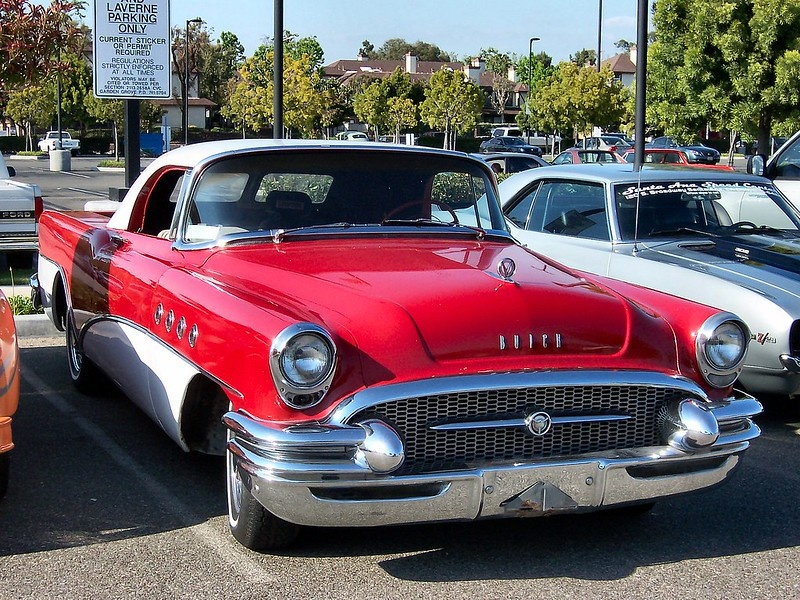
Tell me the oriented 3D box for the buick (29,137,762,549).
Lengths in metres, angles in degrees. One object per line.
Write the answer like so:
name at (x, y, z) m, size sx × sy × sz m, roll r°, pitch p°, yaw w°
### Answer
buick at (-0.175, 0.127, 4.312) m, size 3.790 × 2.078 × 2.279 m, roll 9°, pitch 13°, yaw 40°

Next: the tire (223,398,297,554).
tire at (-0.625, 0.802, 3.440) m, size 0.227 × 0.717 × 0.695 m, roll -1°, pitch 11°, yaw -22°

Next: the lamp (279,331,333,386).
lamp at (-0.416, 0.261, 3.370) m, size 0.237 × 0.290 × 0.276 m, roll -3°, pitch 19°, yaw -11°
